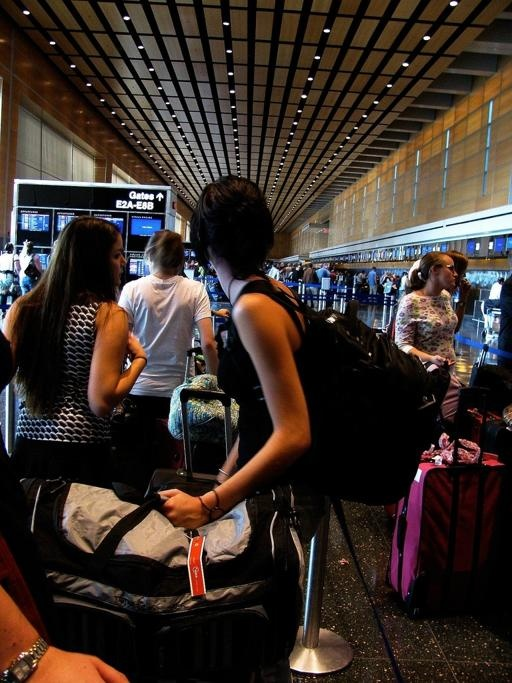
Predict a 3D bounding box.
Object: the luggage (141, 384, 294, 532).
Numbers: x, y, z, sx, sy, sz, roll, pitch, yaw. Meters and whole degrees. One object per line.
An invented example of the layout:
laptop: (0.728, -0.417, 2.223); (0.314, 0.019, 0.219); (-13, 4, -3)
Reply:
luggage: (-0.053, 0.197, 0.964); (0.295, 0.292, 0.189); (3, 6, -2)

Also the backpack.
backpack: (0.171, 0.103, 1.076); (0.464, 0.425, 0.309); (9, 13, 7)

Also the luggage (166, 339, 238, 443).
luggage: (-0.292, 0.277, 2.523); (0.306, 0.497, 0.480); (2, -4, 0)
